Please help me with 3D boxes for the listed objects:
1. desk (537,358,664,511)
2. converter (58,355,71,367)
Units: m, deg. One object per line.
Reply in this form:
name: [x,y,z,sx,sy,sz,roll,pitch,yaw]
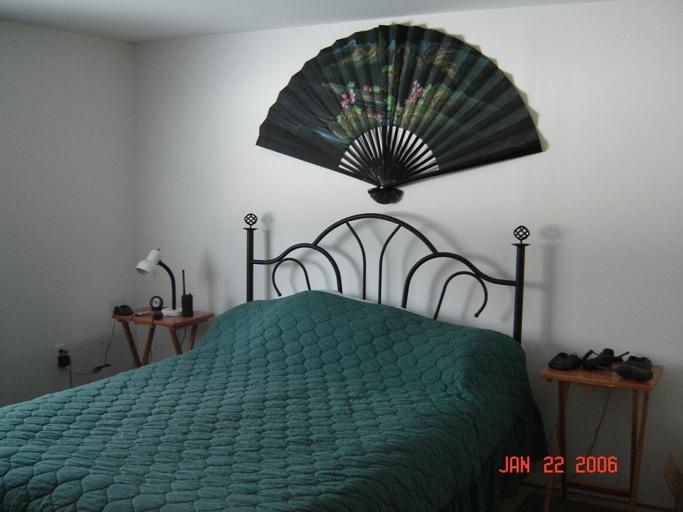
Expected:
desk: [1.339,0.961,2.811,0.513,0.838,0.608,8,14,32]
converter: [-1.978,0.751,3.791,0.087,0.079,0.046,1,-3,-37]
